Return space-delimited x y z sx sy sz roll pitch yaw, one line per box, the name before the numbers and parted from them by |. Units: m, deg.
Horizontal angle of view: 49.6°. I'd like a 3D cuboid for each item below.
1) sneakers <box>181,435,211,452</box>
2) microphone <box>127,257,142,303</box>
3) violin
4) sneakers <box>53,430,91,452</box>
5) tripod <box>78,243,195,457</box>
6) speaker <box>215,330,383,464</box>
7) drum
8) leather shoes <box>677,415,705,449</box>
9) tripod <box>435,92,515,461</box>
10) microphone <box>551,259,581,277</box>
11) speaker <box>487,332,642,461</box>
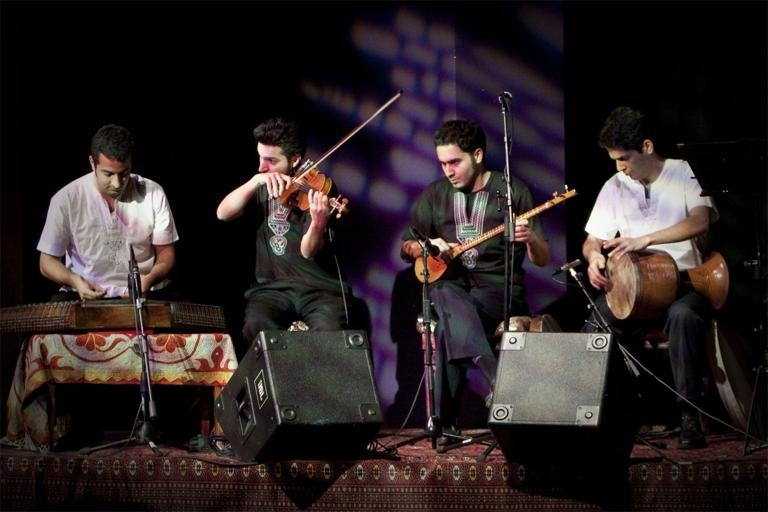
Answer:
sneakers | -1.348 1.343 5.924 0.152 0.059 0.115 -2 -5 7
microphone | -1.784 0.174 5.948 0.084 0.363 0.141 -3 5 -6
violin | -0.583 -0.525 6.580 0.586 0.450 0.340 -1 -7 4
sneakers | -2.248 1.336 5.970 0.178 0.049 0.130 0 11 -3
tripod | -1.874 0.676 6.036 0.473 1.462 0.718 2 -7 -17
speaker | -0.582 0.853 5.509 0.887 0.712 0.893 0 -5 -29
drum | 2.116 0.208 6.299 0.800 0.508 0.486 0 0 -18
leather shoes | 2.192 1.261 5.965 0.233 0.236 0.124 2 -7 -18
tripod | 0.703 -0.011 6.321 0.557 2.897 1.353 -1 -7 8
microphone | 1.376 0.082 6.295 0.118 0.165 0.454 18 9 19
speaker | 1.181 1.042 5.628 0.929 0.741 0.976 13 -39 8
